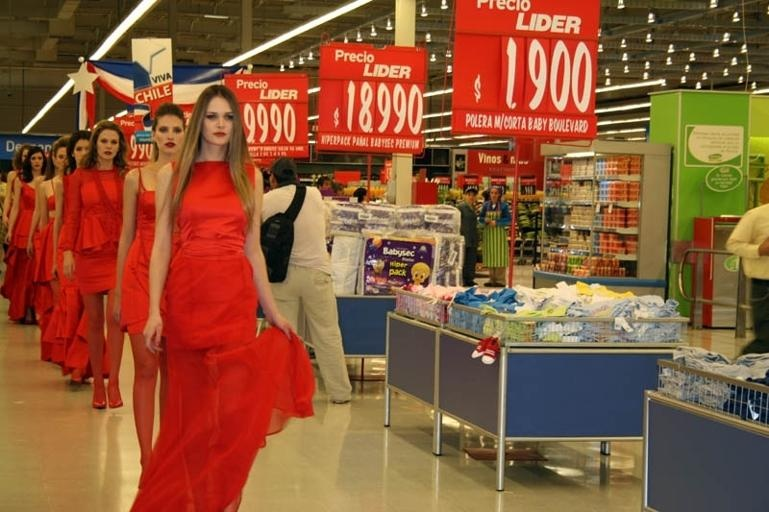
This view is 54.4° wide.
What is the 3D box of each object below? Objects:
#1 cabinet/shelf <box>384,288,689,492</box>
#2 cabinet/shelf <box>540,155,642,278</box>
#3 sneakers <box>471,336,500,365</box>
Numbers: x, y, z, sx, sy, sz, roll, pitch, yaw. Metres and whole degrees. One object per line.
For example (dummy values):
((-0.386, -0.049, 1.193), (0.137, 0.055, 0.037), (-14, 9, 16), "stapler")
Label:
((1.040, 0.603, 5.359), (1.240, 1.007, 1.886), (-1, 3, -19), "cabinet/shelf")
((3.480, -0.662, 12.406), (1.194, 2.680, 1.826), (0, 3, -28), "cabinet/shelf")
((0.666, 0.630, 4.931), (0.143, 0.206, 0.067), (27, -10, 39), "sneakers")
